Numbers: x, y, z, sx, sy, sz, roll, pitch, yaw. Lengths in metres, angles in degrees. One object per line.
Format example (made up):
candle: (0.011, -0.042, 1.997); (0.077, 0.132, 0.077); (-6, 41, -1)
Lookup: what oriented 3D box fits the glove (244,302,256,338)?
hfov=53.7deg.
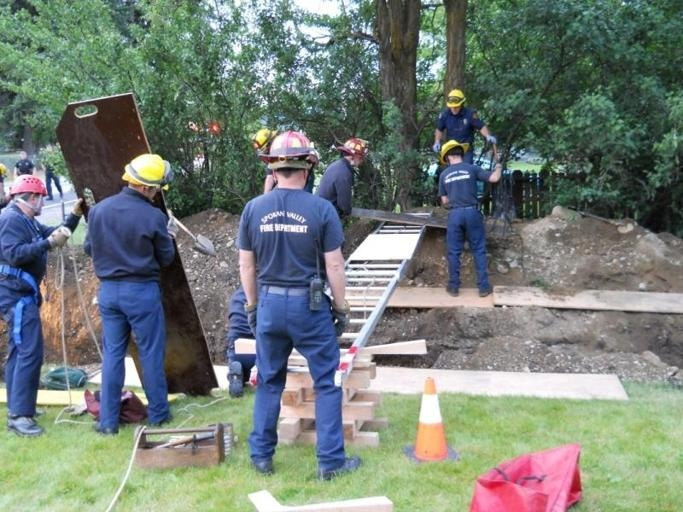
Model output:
glove: (-0.921, 0.670, 7.025); (0.106, 0.313, 0.222); (-6, 10, -20)

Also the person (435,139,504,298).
person: (2.148, -0.656, 11.482); (1.125, 2.568, 0.830); (7, 14, 35)

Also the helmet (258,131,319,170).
helmet: (-0.503, -1.099, 6.864); (0.355, 0.272, 0.487); (2, 10, 6)

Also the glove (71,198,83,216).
glove: (-3.122, -0.581, 7.988); (0.066, 0.201, 0.134); (5, 3, -10)

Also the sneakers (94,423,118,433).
sneakers: (-2.643, 1.943, 7.561); (0.219, 0.102, 0.109); (12, 1, -4)

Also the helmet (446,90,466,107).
helmet: (2.104, -2.934, 12.338); (0.253, 0.212, 0.376); (1, 34, 23)

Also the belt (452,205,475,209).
belt: (2.059, -0.820, 11.313); (0.375, 0.067, 0.093); (1, 12, 8)

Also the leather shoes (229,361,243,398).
leather shoes: (-1.338, 1.560, 8.625); (0.155, 0.476, 0.191); (-1, 7, 1)

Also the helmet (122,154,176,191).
helmet: (-2.194, -0.907, 7.796); (0.518, 0.300, 0.398); (11, 22, -46)

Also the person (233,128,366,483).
person: (-0.471, 0.470, 6.774); (1.098, 3.349, 0.953); (-2, 11, -1)

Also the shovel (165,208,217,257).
shovel: (-2.686, -0.398, 12.193); (0.727, 0.744, 0.333); (-40, 26, 12)

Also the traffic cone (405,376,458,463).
traffic cone: (0.926, 1.688, 6.962); (0.530, 0.776, 0.400); (-1, 11, 3)

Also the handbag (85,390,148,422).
handbag: (-2.598, 1.809, 8.033); (0.388, 0.219, 0.560); (15, -24, -22)

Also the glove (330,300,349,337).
glove: (-0.003, 0.650, 6.976); (0.212, 0.330, 0.162); (0, 5, -3)

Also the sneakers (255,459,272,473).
sneakers: (-0.785, 2.113, 6.751); (0.202, 0.125, 0.094); (-2, 12, -4)

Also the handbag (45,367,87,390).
handbag: (-3.884, 1.719, 9.466); (0.538, 0.217, 0.427); (8, 1, 16)

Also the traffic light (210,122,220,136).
traffic light: (-2.726, -2.736, 14.503); (0.248, 0.290, 0.265); (1, 12, 11)

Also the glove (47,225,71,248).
glove: (-3.225, -0.232, 7.751); (0.186, 0.148, 0.257); (-23, -10, 7)

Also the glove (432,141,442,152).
glove: (1.760, -2.010, 12.499); (0.136, 0.211, 0.071); (-2, -4, 7)

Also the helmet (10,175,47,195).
helmet: (-3.694, -0.820, 7.975); (0.268, 0.211, 0.350); (7, 11, 42)

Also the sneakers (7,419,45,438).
sneakers: (-3.540, 1.917, 7.616); (0.449, 0.204, 0.178); (3, 0, 13)

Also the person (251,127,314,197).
person: (-0.834, -1.477, 9.893); (0.984, 1.215, 1.314); (2, 2, 5)

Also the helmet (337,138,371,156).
helmet: (0.140, -1.635, 10.251); (0.424, 0.283, 0.631); (4, 11, -13)
